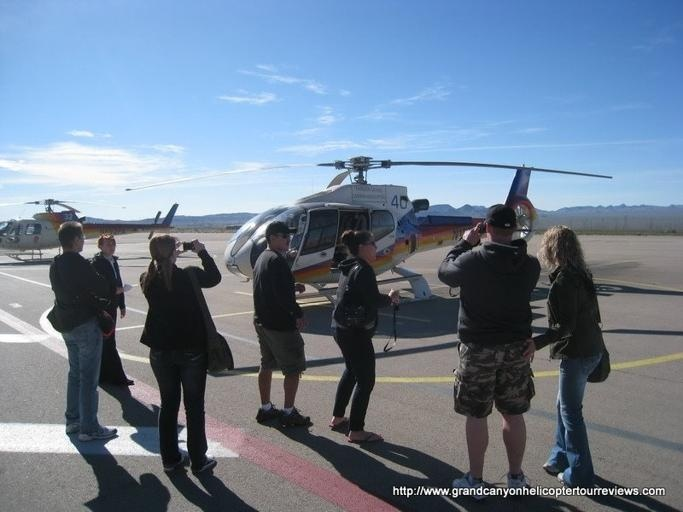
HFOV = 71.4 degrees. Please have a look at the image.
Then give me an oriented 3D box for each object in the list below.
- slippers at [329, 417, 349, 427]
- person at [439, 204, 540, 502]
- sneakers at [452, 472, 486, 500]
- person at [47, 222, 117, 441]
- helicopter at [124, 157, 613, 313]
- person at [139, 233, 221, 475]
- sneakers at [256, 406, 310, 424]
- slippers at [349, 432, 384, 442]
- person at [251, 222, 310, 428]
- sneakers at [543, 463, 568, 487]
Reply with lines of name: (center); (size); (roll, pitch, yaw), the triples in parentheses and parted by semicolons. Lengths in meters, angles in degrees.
slippers: (-0.022, 1.867, 5.324); (0.254, 0.089, 0.095); (-3, 3, -39)
person: (1.301, 0.840, 4.268); (0.848, 2.568, 0.687); (2, 10, 15)
sneakers: (1.123, 2.047, 4.279); (0.145, 0.150, 0.344); (1, -3, -37)
person: (-2.718, 0.811, 5.045); (0.617, 2.287, 0.448); (7, 13, 37)
helicopter: (0.951, -0.754, 11.462); (5.966, 1.797, 5.735); (-1, 3, -37)
person: (-1.517, 0.921, 4.644); (0.674, 2.266, 0.720); (-9, 13, -41)
sneakers: (-0.652, 1.805, 5.458); (0.675, 0.263, 0.229); (0, -9, 8)
slippers: (0.255, 1.894, 5.051); (0.345, 0.122, 0.118); (-3, 8, 0)
person: (-0.697, 0.769, 5.307); (0.567, 2.283, 0.620); (-5, 11, -24)
sneakers: (2.018, 2.066, 4.477); (0.213, 0.096, 0.074); (39, 6, 32)
